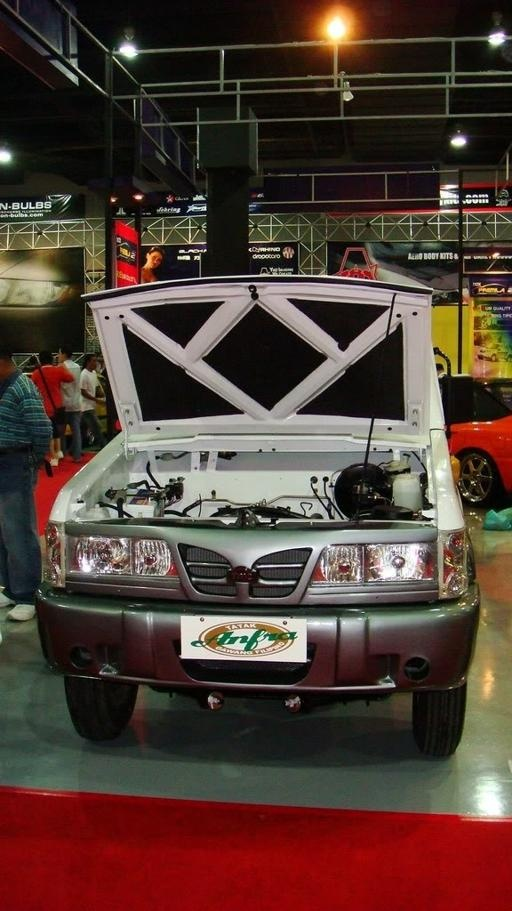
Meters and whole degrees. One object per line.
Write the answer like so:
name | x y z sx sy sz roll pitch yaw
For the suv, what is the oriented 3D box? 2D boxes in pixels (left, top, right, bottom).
suv | 0.124 0.118 3.214 1.326 1.736 2.543 0 3 10

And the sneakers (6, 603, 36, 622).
sneakers | -1.554 1.053 4.228 0.142 0.080 0.272 3 0 -5

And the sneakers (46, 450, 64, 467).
sneakers | -3.071 0.053 9.832 0.189 0.310 0.659 -1 -5 -5
